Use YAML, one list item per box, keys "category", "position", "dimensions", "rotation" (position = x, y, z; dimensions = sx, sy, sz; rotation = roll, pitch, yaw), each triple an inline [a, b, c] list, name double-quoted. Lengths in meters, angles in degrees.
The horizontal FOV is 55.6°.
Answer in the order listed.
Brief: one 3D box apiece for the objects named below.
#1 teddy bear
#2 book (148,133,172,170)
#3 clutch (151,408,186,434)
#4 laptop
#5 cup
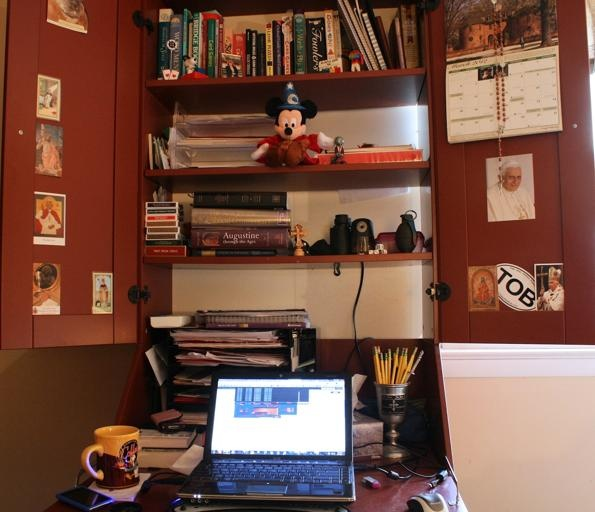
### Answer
- category: "teddy bear"
  position: [-0.021, -0.434, 1.856]
  dimensions: [0.234, 0.265, 0.128]
  rotation: [2, -7, 0]
- category: "book"
  position: [-0.450, -0.345, 1.859]
  dimensions: [0.032, 0.120, 0.082]
  rotation: [0, 3, 5]
- category: "clutch"
  position: [-0.391, 0.496, 1.698]
  dimensions: [0.075, 0.025, 0.055]
  rotation: [2, 19, -30]
- category: "laptop"
  position: [-0.051, 0.496, 1.545]
  dimensions: [0.355, 0.249, 0.299]
  rotation: [0, -2, 4]
- category: "cup"
  position: [-0.511, 0.533, 1.560]
  dimensions: [0.112, 0.144, 0.183]
  rotation: [1, 2, 23]
